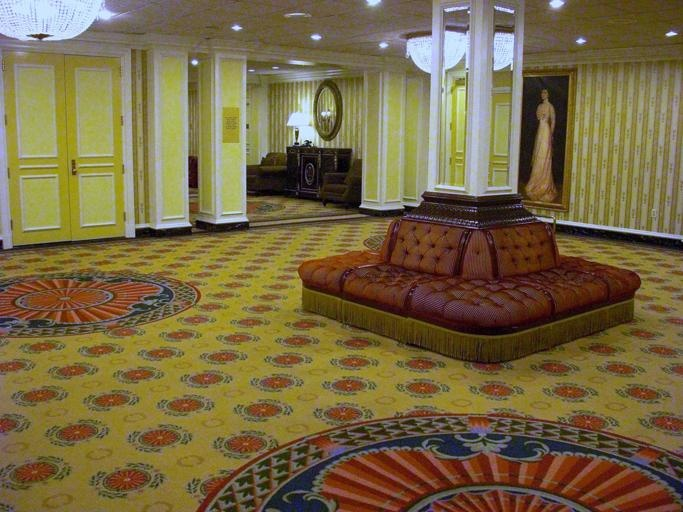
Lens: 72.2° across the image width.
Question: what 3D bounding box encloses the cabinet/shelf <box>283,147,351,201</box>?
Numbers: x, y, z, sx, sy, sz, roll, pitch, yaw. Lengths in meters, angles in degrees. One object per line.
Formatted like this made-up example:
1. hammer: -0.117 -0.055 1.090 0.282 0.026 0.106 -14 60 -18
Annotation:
1. cabinet/shelf: -0.632 -2.532 14.030 0.902 1.388 2.394 -10 17 -36

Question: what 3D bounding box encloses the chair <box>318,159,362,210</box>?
1. chair: 0.128 -1.938 12.532 1.151 0.895 1.001 17 28 34

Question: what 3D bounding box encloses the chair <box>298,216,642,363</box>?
1. chair: 1.261 0.245 4.401 3.288 0.996 1.583 0 12 -4

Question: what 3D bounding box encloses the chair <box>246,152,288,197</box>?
1. chair: -2.370 -2.614 15.157 1.558 1.361 1.835 -9 17 -30

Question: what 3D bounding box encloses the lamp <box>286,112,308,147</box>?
1. lamp: -1.327 -4.069 14.844 0.710 1.083 1.049 0 13 -5

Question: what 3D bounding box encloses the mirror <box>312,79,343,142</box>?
1. mirror: -0.402 -4.425 14.245 0.254 1.839 1.197 -11 18 -38
